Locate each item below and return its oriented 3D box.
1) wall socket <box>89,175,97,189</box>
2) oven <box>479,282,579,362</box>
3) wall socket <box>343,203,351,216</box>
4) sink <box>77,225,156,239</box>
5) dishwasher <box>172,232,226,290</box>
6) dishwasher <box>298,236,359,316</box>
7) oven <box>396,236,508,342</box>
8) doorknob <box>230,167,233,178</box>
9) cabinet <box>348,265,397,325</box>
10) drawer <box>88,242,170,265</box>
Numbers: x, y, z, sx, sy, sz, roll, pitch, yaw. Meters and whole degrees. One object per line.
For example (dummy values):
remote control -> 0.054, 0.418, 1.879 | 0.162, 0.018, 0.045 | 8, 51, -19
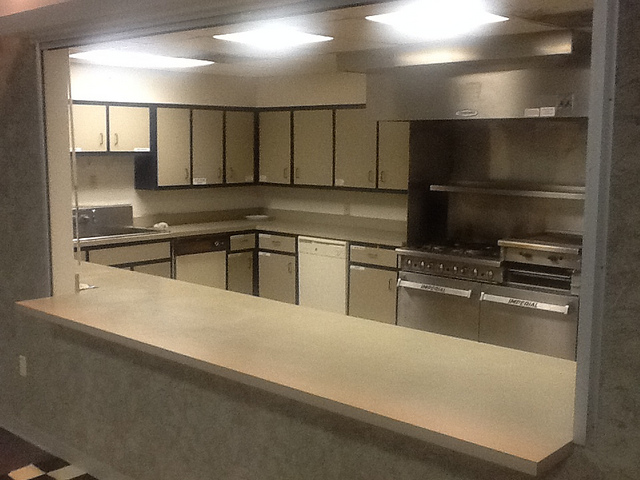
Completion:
wall socket -> -2.499, -0.644, 5.564 | 0.113, 0.123, 0.029 | -3, 7, -43
oven -> 1.655, 0.632, 3.970 | 0.675, 0.568, 0.520 | 8, 10, 43
wall socket -> 0.326, -0.375, 6.123 | 0.026, 0.199, 0.143 | 1, 0, -43
sink -> -2.257, -0.098, 5.633 | 0.763, 0.108, 0.374 | -3, 9, -25
dishwasher -> -1.525, 0.269, 5.959 | 0.787, 0.738, 0.487 | -5, 11, -45
dishwasher -> 0.110, 0.357, 5.693 | 0.482, 0.891, 0.544 | -9, 12, -44
oven -> 1.228, 0.241, 4.646 | 1.042, 1.072, 0.770 | 4, 4, 40
doorknob -> -1.100, -0.839, 6.222 | 0.035, 0.143, 0.031 | 2, 3, 26
cabinet -> 0.619, 0.496, 5.491 | 0.549, 0.749, 0.495 | 10, 29, 20
drawer -> -1.964, 0.147, 5.254 | 0.851, 0.179, 0.059 | -7, 11, -44
